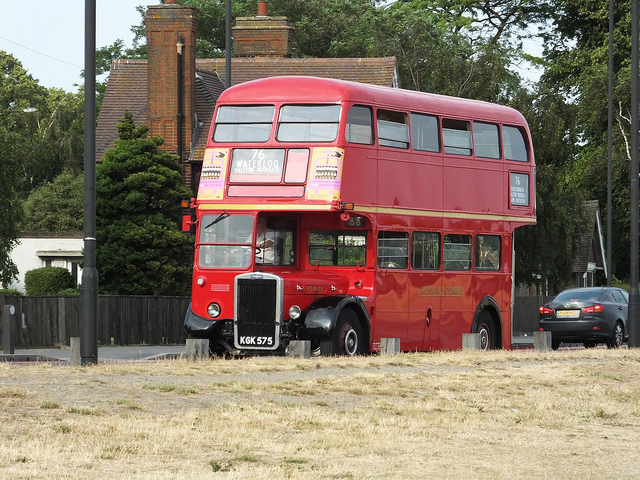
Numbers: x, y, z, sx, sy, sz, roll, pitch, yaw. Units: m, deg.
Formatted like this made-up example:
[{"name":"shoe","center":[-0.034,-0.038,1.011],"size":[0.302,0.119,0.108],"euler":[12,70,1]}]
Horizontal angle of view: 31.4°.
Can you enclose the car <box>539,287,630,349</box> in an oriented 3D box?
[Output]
[{"name":"car","center":[8.125,2.158,33.237],"size":[1.286,1.172,3.103],"euler":[-1,0,31]}]
